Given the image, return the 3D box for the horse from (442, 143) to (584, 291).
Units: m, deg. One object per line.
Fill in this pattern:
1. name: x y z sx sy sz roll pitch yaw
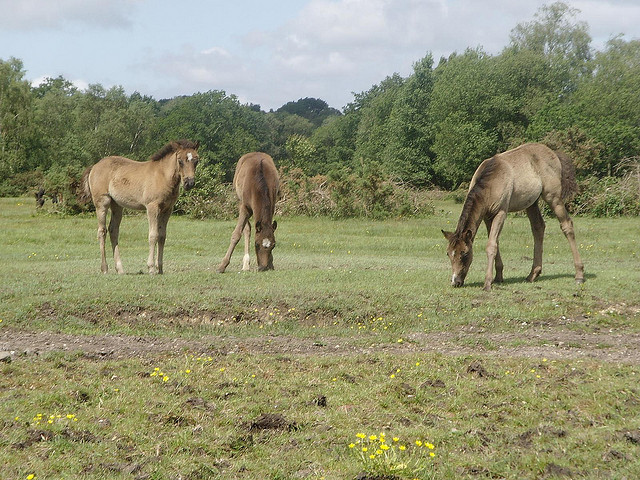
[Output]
1. horse: 5.164 -0.482 20.616 4.724 3.979 1.242 -15 12 -29
